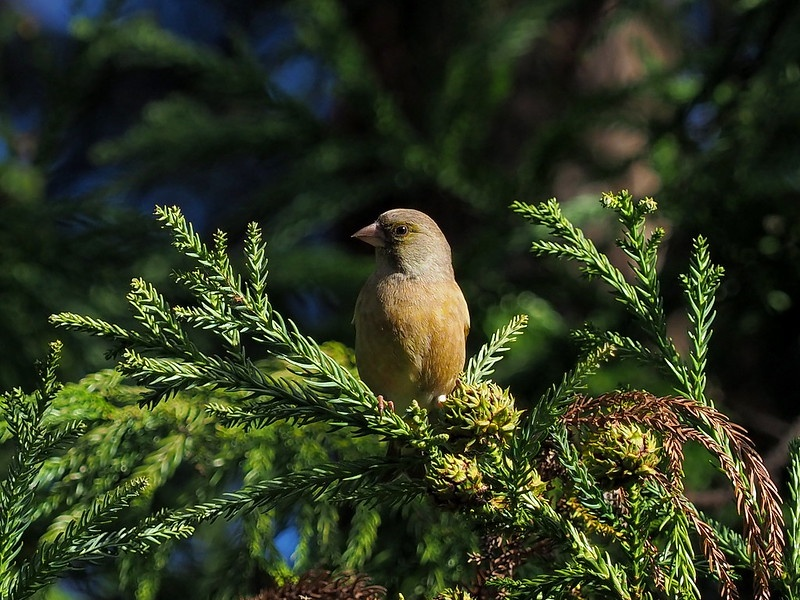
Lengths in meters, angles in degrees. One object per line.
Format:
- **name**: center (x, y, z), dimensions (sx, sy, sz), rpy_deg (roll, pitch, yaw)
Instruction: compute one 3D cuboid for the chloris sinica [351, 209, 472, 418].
- **chloris sinica**: center (0.045, 0.012, 4.149), dimensions (0.519, 0.922, 0.333), rpy_deg (-2, -32, -6)
